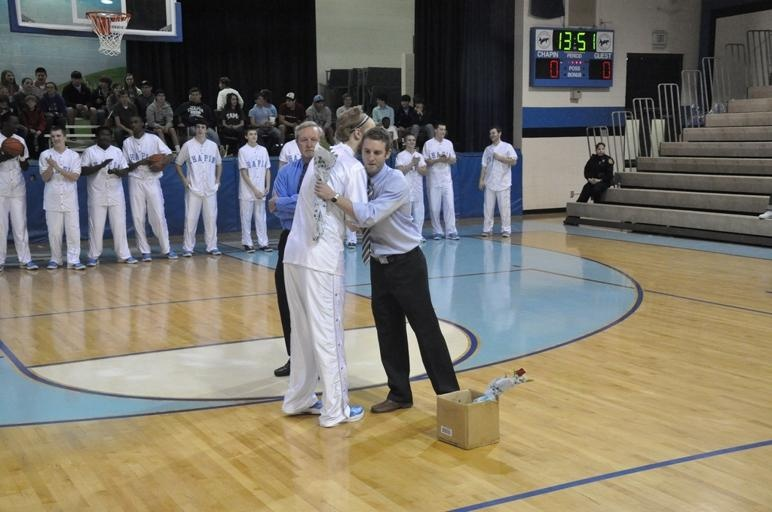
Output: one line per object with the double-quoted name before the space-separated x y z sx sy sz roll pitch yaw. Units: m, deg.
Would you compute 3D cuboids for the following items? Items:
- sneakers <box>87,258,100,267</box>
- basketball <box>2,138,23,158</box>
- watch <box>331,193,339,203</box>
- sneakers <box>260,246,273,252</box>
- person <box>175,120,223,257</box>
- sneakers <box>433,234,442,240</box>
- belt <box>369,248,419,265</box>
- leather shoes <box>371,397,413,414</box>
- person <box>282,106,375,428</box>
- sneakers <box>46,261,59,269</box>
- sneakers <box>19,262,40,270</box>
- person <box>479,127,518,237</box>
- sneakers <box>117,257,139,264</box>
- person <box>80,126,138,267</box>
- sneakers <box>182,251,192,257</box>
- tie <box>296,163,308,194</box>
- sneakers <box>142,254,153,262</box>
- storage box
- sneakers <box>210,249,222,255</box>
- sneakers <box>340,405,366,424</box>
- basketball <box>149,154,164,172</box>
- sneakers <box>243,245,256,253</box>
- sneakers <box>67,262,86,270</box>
"sneakers" -5.169 0.116 10.580 0.127 0.127 0.297 1 -4 -11
"basketball" -6.025 -1.741 9.690 0.301 0.323 0.215 -9 15 -32
"watch" -0.381 -0.429 4.476 0.060 0.055 0.061 -12 3 2
"sneakers" -2.347 -0.133 11.775 0.244 0.104 0.107 -1 3 24
"person" -3.482 -1.230 11.212 0.801 2.427 0.522 -4 13 -16
"sneakers" 1.115 -0.399 12.833 0.083 0.098 0.231 0 -2 -12
"belt" 0.073 0.003 4.812 0.411 0.143 0.170 0 13 1
"leather shoes" 0.051 1.250 5.078 0.336 0.109 0.126 2 -4 -18
"person" -0.498 0.127 4.704 0.757 2.438 0.504 -1 13 -1
"sneakers" -5.761 0.162 10.363 0.116 0.102 0.252 0 -2 -20
"sneakers" -6.091 0.178 10.252 0.363 0.153 0.145 2 4 24
"person" 2.422 -1.616 13.114 0.768 2.308 1.044 2 13 12
"sneakers" -4.574 0.087 10.708 0.378 0.140 0.147 0 3 -2
"person" -4.880 -1.022 10.466 0.834 2.333 0.654 -6 14 -23
"sneakers" -3.701 -0.023 11.229 0.076 0.094 0.208 -2 0 -35
"tie" -0.787 -0.704 5.511 0.193 0.268 0.139 -1 3 -12
"sneakers" -4.325 0.043 10.859 0.108 0.107 0.272 -2 0 -30
"storage box" 0.606 1.195 4.586 0.405 0.358 0.404 -2 4 -36
"sneakers" -3.231 -0.062 11.411 0.219 0.089 0.088 -2 1 39
"sneakers" -0.270 1.264 4.875 0.230 0.150 0.085 -8 12 -39
"basketball" -4.089 -1.636 10.704 0.286 0.234 0.298 -5 1 -27
"sneakers" -2.640 -0.131 11.607 0.101 0.120 0.281 -4 3 -40
"sneakers" -5.292 0.176 10.270 0.311 0.134 0.124 -1 1 21
